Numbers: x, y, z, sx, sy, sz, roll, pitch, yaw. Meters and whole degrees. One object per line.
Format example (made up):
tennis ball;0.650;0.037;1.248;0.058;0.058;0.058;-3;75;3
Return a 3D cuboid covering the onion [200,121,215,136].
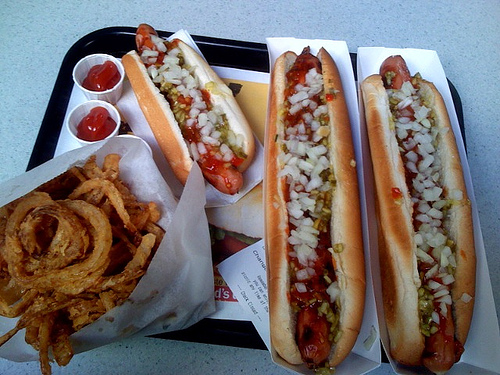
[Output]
onion;-0.204;-0.283;2.057;0.039;0.023;0.069;34;72;15

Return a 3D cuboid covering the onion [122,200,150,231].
onion;-0.487;0.114;1.865;0.089;0.034;0.140;-7;78;-6

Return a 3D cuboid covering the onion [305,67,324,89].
onion;0.315;-0.546;2.130;0.091;0.027;0.089;3;78;-8

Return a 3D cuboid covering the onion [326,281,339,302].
onion;0.360;0.448;1.850;0.055;0.029;0.064;-22;61;-9

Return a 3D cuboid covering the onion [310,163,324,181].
onion;0.301;-0.068;1.948;0.040;0.025;0.078;39;87;31

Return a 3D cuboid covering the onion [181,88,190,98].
onion;-0.324;-0.475;2.143;0.034;0.025;0.044;-33;63;-15

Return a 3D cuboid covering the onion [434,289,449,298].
onion;0.811;0.450;1.827;0.058;0.015;0.029;-32;87;5

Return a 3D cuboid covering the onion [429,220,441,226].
onion;0.824;0.159;1.917;0.051;0.014;0.024;-2;59;2

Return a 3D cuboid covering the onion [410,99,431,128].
onion;0.820;-0.355;2.102;0.091;0.043;0.140;-30;59;-9

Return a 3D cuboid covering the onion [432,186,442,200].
onion;0.842;0.024;1.912;0.034;0.012;0.050;2;75;11

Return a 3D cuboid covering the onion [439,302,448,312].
onion;0.814;0.503;1.810;0.024;0.011;0.036;-18;49;-3

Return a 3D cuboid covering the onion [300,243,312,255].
onion;0.236;0.266;1.836;0.042;0.018;0.052;-42;66;-19

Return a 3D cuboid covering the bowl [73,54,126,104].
bowl;-0.759;-0.546;2.208;0.237;0.177;0.232;-2;59;3

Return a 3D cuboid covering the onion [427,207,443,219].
onion;0.826;0.117;1.922;0.066;0.029;0.049;24;64;17

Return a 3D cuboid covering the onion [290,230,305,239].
onion;0.207;0.205;1.862;0.073;0.028;0.026;29;66;19

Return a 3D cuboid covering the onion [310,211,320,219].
onion;0.288;0.122;1.910;0.062;0.013;0.019;19;88;-6

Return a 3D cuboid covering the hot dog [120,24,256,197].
hot dog;-0.293;-0.379;2.364;0.497;0.319;1.052;-32;73;2

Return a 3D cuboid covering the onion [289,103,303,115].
onion;0.220;-0.382;2.070;0.068;0.020;0.033;-41;87;-11

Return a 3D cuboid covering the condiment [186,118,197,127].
condiment;-0.288;-0.323;2.101;0.057;0.019;0.038;-34;63;-16

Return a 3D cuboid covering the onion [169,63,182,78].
onion;-0.378;-0.602;2.200;0.048;0.020;0.082;-30;73;27

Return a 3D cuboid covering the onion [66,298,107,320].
onion;-0.665;0.502;1.757;0.140;0.036;0.078;-16;79;4

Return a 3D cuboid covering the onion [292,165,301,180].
onion;0.213;-0.068;1.934;0.039;0.014;0.057;-3;71;-2

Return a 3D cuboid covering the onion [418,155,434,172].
onion;0.803;-0.108;1.995;0.020;0.083;0.046;20;29;-24

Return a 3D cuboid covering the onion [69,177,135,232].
onion;-0.617;0.034;1.825;0.182;0.060;0.297;-31;89;10

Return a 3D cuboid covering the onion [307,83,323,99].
onion;0.315;-0.473;2.108;0.083;0.033;0.081;0;93;7

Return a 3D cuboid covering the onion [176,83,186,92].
onion;-0.347;-0.502;2.156;0.036;0.036;0.026;-6;75;37

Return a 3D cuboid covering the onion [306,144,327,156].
onion;0.305;-0.170;1.974;0.082;0.026;0.044;-21;81;0

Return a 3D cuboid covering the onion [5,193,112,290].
onion;-0.782;0.221;1.782;0.377;0.143;0.405;10;68;-1

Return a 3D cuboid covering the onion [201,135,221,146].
onion;-0.187;-0.221;2.043;0.081;0.025;0.040;25;91;5

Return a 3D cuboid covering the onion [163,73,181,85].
onion;-0.396;-0.545;2.164;0.070;0.047;0.018;17;103;-9

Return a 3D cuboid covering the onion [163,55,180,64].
onion;-0.402;-0.657;2.198;0.067;0.022;0.040;10;94;17

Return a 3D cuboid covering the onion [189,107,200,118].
onion;-0.272;-0.367;2.105;0.044;0.025;0.046;16;62;12

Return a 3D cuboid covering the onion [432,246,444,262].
onion;0.809;0.288;1.857;0.039;0.015;0.062;16;94;12
